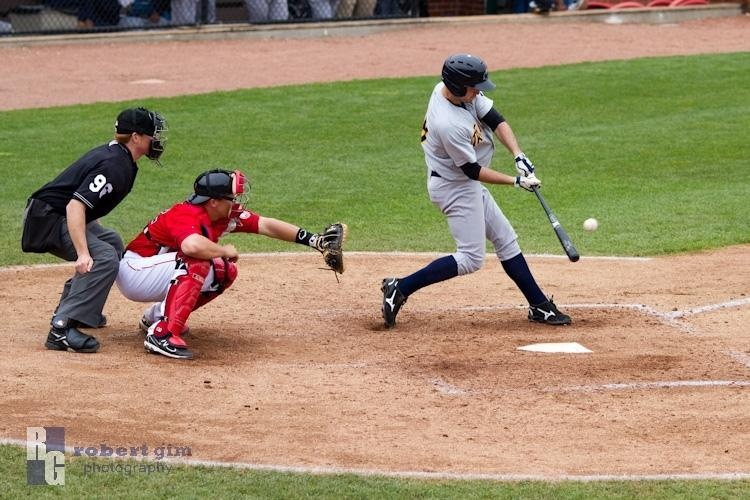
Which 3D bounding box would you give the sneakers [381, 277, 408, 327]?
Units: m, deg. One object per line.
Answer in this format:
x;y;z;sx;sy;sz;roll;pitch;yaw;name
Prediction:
0.165;0.479;10.033;0.310;0.452;0.179;-1;-5;6;sneakers

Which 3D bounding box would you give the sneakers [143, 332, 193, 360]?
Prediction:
-1.786;0.826;9.460;0.478;0.176;0.166;9;8;4;sneakers

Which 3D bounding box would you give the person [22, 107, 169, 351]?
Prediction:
-2.440;-0.196;9.514;1.030;2.064;0.735;-7;16;-33;person

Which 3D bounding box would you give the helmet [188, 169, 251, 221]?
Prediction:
-1.323;-0.552;9.551;0.614;0.349;0.365;-5;34;-7;helmet

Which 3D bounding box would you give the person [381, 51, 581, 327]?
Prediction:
0.889;-0.522;10.000;1.601;2.493;0.481;1;14;-1;person

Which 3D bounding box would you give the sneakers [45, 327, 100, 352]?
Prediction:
-2.594;0.770;9.372;0.531;0.190;0.180;1;12;2;sneakers

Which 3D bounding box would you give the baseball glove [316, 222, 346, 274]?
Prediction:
-0.374;0.003;9.865;0.260;0.208;0.448;7;-27;8;baseball glove
